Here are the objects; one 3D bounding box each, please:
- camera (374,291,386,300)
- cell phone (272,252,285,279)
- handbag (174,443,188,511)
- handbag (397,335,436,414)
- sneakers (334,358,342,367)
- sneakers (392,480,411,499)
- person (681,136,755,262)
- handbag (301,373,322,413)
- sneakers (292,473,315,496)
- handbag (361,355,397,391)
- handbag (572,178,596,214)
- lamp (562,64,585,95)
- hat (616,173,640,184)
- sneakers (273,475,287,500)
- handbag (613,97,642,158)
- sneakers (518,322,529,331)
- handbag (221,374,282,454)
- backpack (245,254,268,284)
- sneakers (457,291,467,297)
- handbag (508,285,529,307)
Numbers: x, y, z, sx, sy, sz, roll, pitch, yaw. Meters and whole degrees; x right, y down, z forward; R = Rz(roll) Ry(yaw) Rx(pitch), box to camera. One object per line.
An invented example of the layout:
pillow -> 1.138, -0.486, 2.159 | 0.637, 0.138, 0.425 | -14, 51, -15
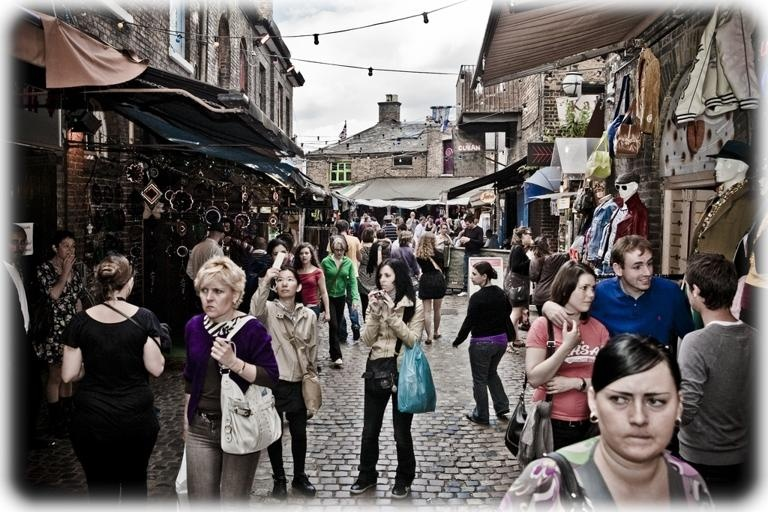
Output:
camera -> -0.039, 0.402, 7.048 | 0.101, 0.076, 0.063 | 1, 11, -2
cell phone -> -1.138, 0.112, 7.453 | 0.035, 0.118, 0.279 | -2, 35, 20
handbag -> -1.773, 1.999, 6.041 | 0.088, 0.650, 0.360 | -2, 11, -18
handbag -> 0.339, 1.226, 6.964 | 0.366, 0.655, 0.304 | 3, 11, 6
sneakers -> -0.726, 1.711, 11.034 | 0.081, 0.091, 0.134 | 1, 5, -3
sneakers -> 0.175, 2.369, 6.974 | 0.099, 0.119, 0.273 | 2, -3, 17
person -> 3.366, -0.546, 6.741 | 0.448, 1.152, 0.742 | 0, 11, -9
handbag -> -0.761, 1.430, 7.296 | 0.179, 0.404, 0.360 | -4, 11, 4
sneakers -> -0.832, 2.353, 7.072 | 0.262, 0.168, 0.138 | -2, -4, 35
handbag -> -0.022, 1.247, 7.159 | 0.377, 0.376, 0.243 | -7, -10, 28
handbag -> 2.969, -0.825, 9.917 | 0.242, 0.454, 0.377 | 1, -5, 25
lamp -> 3.865, -3.530, 14.081 | 0.365, 0.481, 0.527 | 3, 11, 9
hat -> 2.968, -0.924, 8.271 | 0.179, 0.085, 0.150 | -2, 1, -13
sneakers -> -1.069, 2.343, 7.019 | 0.151, 0.165, 0.220 | 0, 11, -8
handbag -> 3.046, -1.602, 8.590 | 0.341, 0.819, 0.807 | 2, 3, 7
sneakers -> 2.777, 1.429, 13.623 | 0.172, 0.219, 0.515 | -2, -11, 11
handbag -> -1.160, 1.347, 5.981 | 0.350, 0.694, 0.691 | -7, -3, 23
backpack -> -1.858, 0.198, 10.057 | 0.371, 0.551, 0.282 | 3, -9, -2
sneakers -> 2.172, 1.059, 18.883 | 0.214, 0.093, 0.095 | 1, -2, -20
handbag -> 2.437, 0.737, 12.607 | 0.390, 0.420, 0.294 | 7, 4, 8
